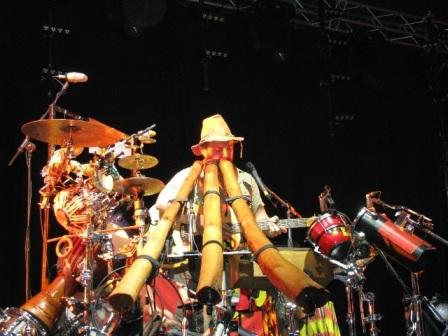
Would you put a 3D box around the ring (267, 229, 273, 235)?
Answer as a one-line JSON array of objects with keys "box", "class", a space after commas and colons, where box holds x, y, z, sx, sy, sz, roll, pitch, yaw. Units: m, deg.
[{"box": [0.431, 0.612, 4.182, 0.045, 0.048, 0.035, 4, -7, 12], "class": "ring"}]

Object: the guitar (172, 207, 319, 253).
[{"box": [0.218, 0.656, 4.373, 1.557, 0.634, 0.191, -3, -20, -15], "class": "guitar"}]

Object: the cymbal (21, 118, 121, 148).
[{"box": [-1.907, -0.490, 5.377, 1.070, 0.142, 1.092, 24, 21, 33], "class": "cymbal"}]

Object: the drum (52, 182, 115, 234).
[{"box": [-1.772, 0.509, 5.333, 0.661, 0.526, 0.302, 2, -41, 3], "class": "drum"}]

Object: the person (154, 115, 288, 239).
[{"box": [-0.094, 0.089, 4.973, 1.539, 1.472, 0.878, 8, -14, -25], "class": "person"}]

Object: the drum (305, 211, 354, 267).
[{"box": [1.110, 0.688, 4.719, 0.458, 0.348, 0.474, -5, -70, -13], "class": "drum"}]

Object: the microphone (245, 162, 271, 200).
[{"box": [0.407, 0.164, 5.430, 0.101, 0.604, 0.089, -34, -19, 18], "class": "microphone"}]

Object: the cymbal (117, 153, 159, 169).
[{"box": [-1.101, -0.088, 5.465, 0.286, 0.069, 0.284, 19, -36, -38], "class": "cymbal"}]

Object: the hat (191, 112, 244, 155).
[{"box": [-0.111, -0.357, 4.486, 0.444, 0.263, 0.460, -15, -7, -9], "class": "hat"}]
